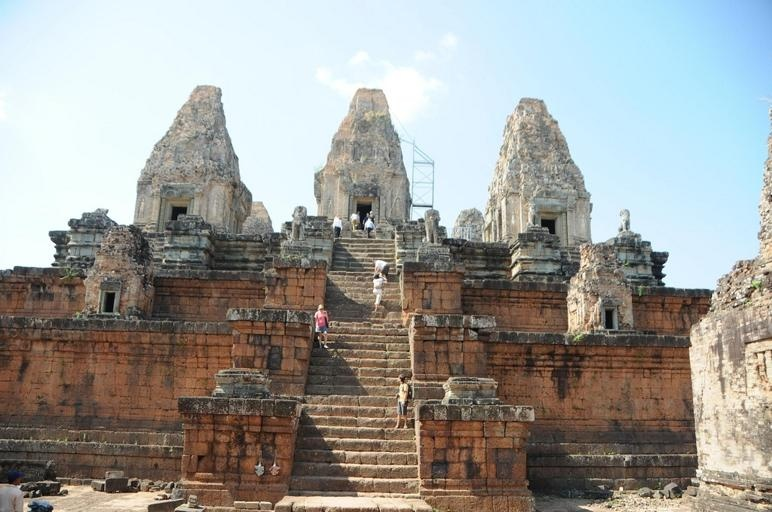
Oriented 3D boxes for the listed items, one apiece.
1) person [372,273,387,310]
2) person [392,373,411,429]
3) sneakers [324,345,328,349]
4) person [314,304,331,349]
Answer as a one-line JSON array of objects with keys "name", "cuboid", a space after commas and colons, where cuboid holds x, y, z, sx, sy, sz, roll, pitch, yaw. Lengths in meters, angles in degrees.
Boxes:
[{"name": "person", "cuboid": [-0.164, 0.908, 24.909, 0.304, 0.951, 0.826, 2, -10, -1]}, {"name": "person", "cuboid": [0.386, 3.061, 21.080, 0.326, 1.095, 0.775, 2, -10, 1]}, {"name": "sneakers", "cuboid": [-1.305, 2.018, 22.400, 0.089, 0.083, 0.157, -1, -11, 18]}, {"name": "person", "cuboid": [-1.423, 1.597, 22.550, 0.350, 0.961, 0.438, 3, -10, -4]}]
